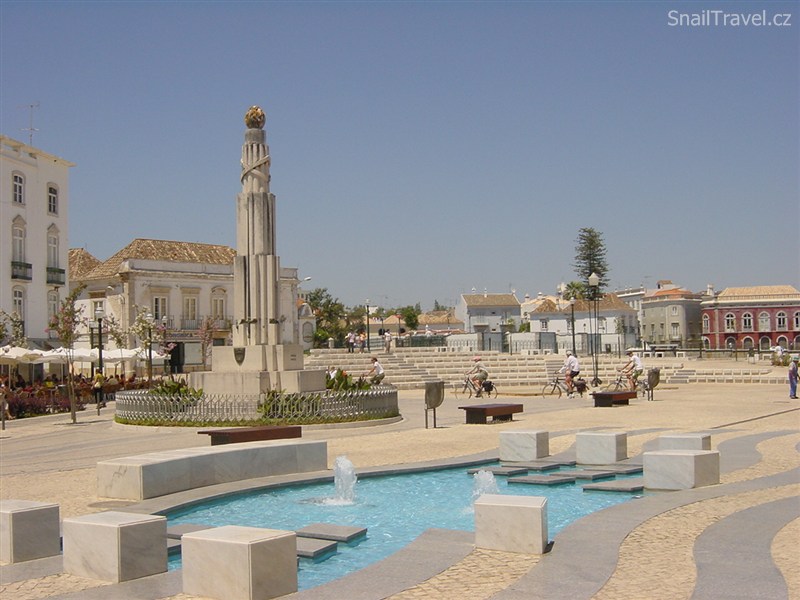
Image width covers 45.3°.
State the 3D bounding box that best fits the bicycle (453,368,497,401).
[{"bbox_3d":[3.172,3.401,39.232,1.021,1.031,1.973,-1,3,-39],"label":"bicycle"}]

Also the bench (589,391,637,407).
[{"bbox_3d":[7.108,3.260,31.843,0.928,0.500,1.967,-5,-4,29],"label":"bench"}]

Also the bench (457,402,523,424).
[{"bbox_3d":[2.591,3.172,26.987,1.538,0.493,2.496,-3,-4,0],"label":"bench"}]

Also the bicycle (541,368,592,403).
[{"bbox_3d":[7.121,3.530,38.972,2.745,1.389,1.254,0,-2,8],"label":"bicycle"}]

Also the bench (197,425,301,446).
[{"bbox_3d":[-3.100,2.809,20.017,1.924,0.301,1.271,-2,-4,-13],"label":"bench"}]
